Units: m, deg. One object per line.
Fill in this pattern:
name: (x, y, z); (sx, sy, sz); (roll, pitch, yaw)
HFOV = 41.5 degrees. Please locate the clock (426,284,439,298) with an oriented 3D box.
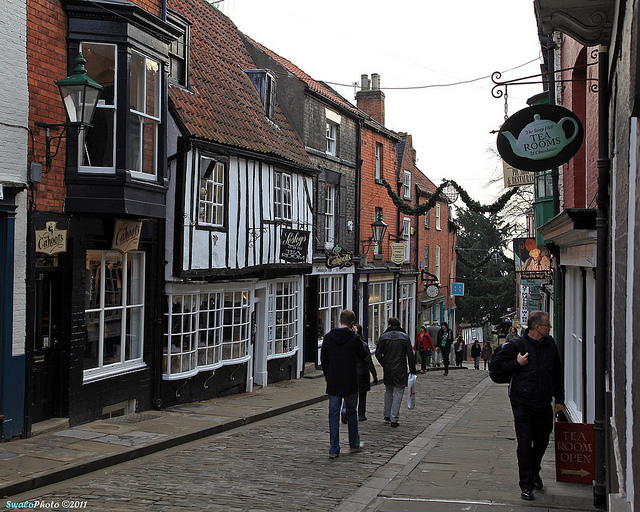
clock: (4.807, 1.458, 36.703); (0.486, 0.535, 0.113); (-1, 3, -24)

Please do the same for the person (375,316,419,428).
person: (1.437, 2.157, 16.102); (0.723, 2.057, 0.933); (-2, -6, 3)

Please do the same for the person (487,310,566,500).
person: (2.750, 1.915, 11.100); (0.966, 2.398, 0.561); (-2, -6, 3)

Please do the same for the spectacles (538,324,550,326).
spectacles: (2.909, 0.877, 10.956); (0.154, 0.016, 0.042); (0, -7, -19)
